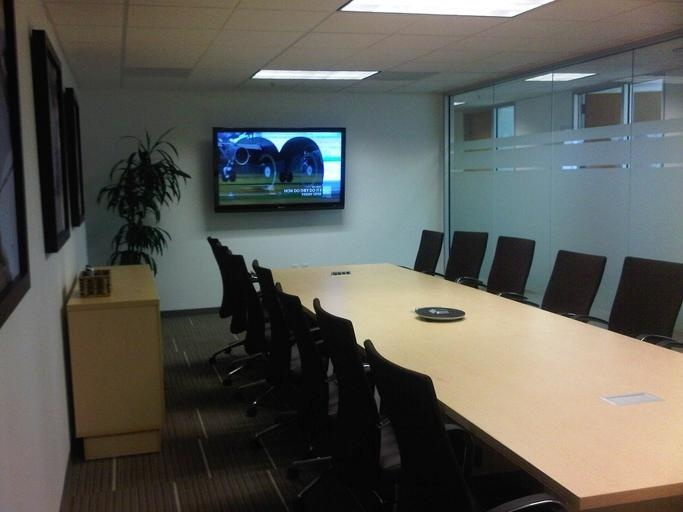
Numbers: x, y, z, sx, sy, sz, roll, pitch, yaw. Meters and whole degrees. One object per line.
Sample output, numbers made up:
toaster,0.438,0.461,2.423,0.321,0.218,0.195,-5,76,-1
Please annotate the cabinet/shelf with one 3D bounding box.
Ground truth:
cabinet/shelf,-1.600,0.790,3.540,0.408,0.797,1.221,-1,6,-17
